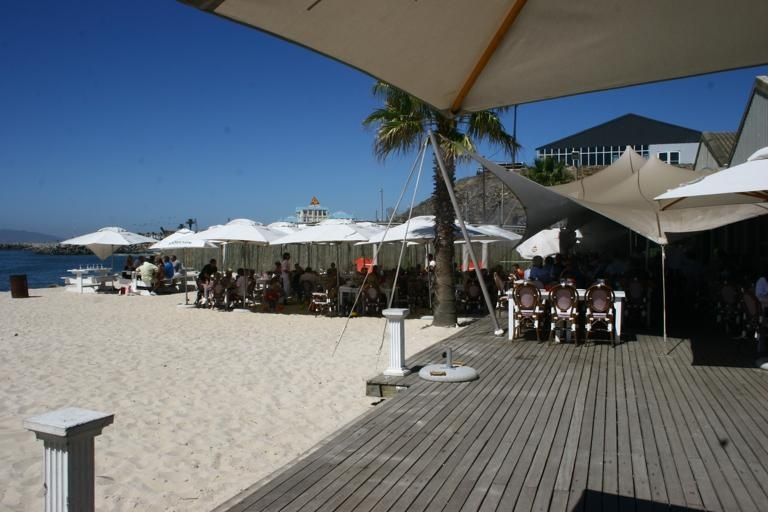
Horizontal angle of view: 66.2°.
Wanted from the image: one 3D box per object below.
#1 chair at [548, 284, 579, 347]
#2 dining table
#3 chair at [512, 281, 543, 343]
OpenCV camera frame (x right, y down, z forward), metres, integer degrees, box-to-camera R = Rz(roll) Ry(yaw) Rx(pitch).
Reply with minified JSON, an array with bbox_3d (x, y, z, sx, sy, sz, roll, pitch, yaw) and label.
[{"bbox_3d":[3.437,1.098,11.322,0.475,1.213,0.893,-1,6,16],"label":"chair"},{"bbox_3d":[4.139,1.232,11.746,1.657,0.787,0.940,-5,-15,38],"label":"dining table"},{"bbox_3d":[2.886,1.076,11.888,0.575,1.200,1.188,-2,5,14],"label":"chair"}]
